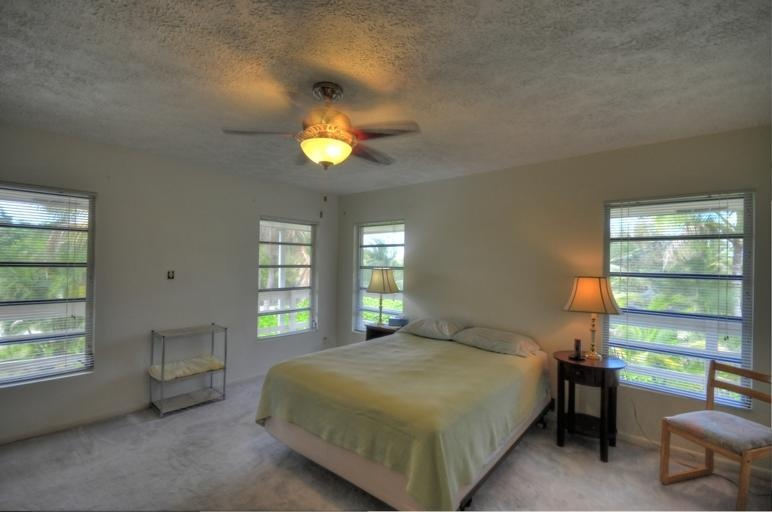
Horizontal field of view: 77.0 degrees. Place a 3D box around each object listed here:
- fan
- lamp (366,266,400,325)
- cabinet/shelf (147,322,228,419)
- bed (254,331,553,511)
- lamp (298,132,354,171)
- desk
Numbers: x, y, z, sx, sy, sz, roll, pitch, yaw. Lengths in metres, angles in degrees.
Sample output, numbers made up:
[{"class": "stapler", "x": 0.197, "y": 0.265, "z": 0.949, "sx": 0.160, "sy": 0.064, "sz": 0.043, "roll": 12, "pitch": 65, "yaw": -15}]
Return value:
[{"class": "fan", "x": -0.495, "y": -1.101, "z": 5.018, "sx": 1.695, "sy": 0.677, "sz": 1.756, "roll": -3, "pitch": -2, "yaw": 40}, {"class": "lamp", "x": -0.031, "y": 0.546, "z": 6.593, "sx": 0.406, "sy": 0.782, "sz": 0.598, "roll": -1, "pitch": -1, "yaw": 5}, {"class": "cabinet/shelf", "x": -2.298, "y": 1.278, "z": 5.590, "sx": 0.805, "sy": 0.855, "sz": 0.426, "roll": -2, "pitch": 7, "yaw": -42}, {"class": "bed", "x": 0.235, "y": 1.535, "z": 4.978, "sx": 2.042, "sy": 1.119, "sz": 2.114, "roll": -2, "pitch": -2, "yaw": 38}, {"class": "lamp", "x": -0.543, "y": -0.896, "z": 4.324, "sx": 0.526, "sy": 0.208, "sz": 0.514, "roll": -1, "pitch": -13, "yaw": 8}, {"class": "desk", "x": 2.029, "y": 1.492, "z": 4.964, "sx": 0.612, "sy": 0.817, "sz": 0.687, "roll": 5, "pitch": -3, "yaw": 34}]
